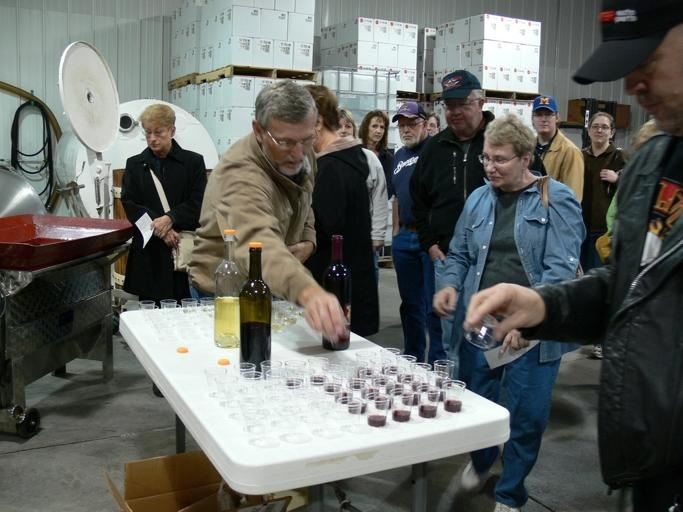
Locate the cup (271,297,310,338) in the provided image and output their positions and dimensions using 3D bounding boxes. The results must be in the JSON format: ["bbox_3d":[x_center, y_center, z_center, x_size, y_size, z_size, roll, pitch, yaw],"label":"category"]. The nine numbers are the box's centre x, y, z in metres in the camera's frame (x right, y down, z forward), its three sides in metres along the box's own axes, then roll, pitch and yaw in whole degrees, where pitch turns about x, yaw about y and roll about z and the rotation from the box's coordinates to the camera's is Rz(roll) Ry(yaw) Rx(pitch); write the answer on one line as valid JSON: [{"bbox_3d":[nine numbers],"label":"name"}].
[{"bbox_3d":[-0.242,0.279,2.463,0.151,0.113,0.178,5,9,23],"label":"cup"}]

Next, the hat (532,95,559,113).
[{"bbox_3d":[2.175,-1.637,5.522,0.204,0.175,0.302,2,1,24],"label":"hat"}]

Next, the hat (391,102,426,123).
[{"bbox_3d":[0.652,-1.362,5.021,0.293,0.160,0.209,1,7,-22],"label":"hat"}]

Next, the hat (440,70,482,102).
[{"bbox_3d":[0.868,-1.245,3.820,0.209,0.167,0.308,3,16,24],"label":"hat"}]

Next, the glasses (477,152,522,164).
[{"bbox_3d":[0.887,-0.548,2.871,0.154,0.049,0.150,-12,18,-23],"label":"glasses"}]
